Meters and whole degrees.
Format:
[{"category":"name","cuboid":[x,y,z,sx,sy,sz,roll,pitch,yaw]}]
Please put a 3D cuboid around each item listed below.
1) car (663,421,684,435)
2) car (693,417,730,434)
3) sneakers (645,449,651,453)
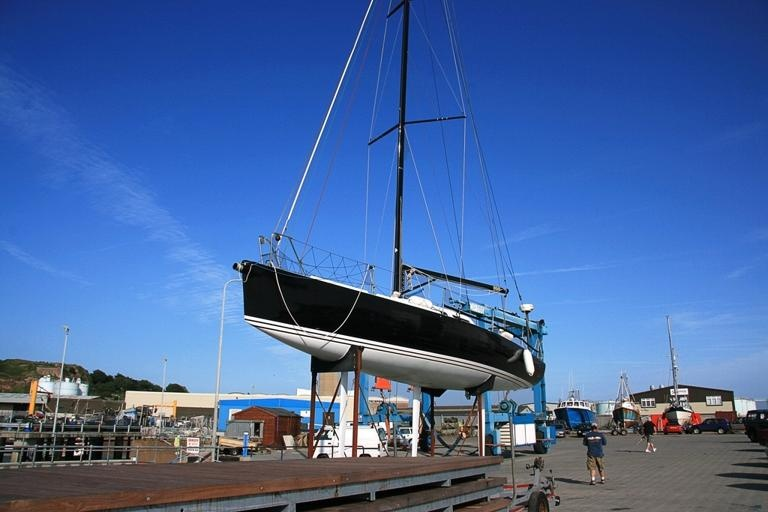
[{"category":"car","cuboid":[22.876,13.527,44.179,1.362,0.921,1.990,-16,-25,38]},{"category":"car","cuboid":[24.570,12.675,41.718,2.299,1.077,1.186,-2,-13,27]},{"category":"sneakers","cuboid":[12.468,9.162,26.308,0.269,0.122,0.094,4,-11,-18]}]
